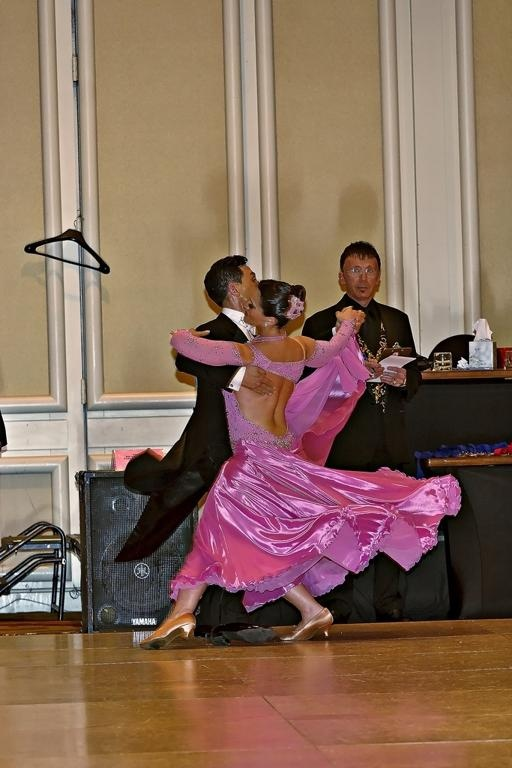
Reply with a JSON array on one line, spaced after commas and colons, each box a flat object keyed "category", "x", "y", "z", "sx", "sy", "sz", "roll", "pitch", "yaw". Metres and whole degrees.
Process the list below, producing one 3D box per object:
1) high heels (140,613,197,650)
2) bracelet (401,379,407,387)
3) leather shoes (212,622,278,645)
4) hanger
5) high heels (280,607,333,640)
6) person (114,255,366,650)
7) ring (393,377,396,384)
[{"category": "high heels", "x": -0.272, "y": 0.797, "z": 2.701, "sx": 0.204, "sy": 0.081, "sz": 0.077, "roll": -23, "pitch": -22, "yaw": -9}, {"category": "bracelet", "x": 0.607, "y": 0.000, "z": 3.475, "sx": 0.020, "sy": 0.029, "sz": 0.023, "roll": 17, "pitch": 5, "yaw": -4}, {"category": "leather shoes", "x": -0.037, "y": 0.826, "z": 2.779, "sx": 0.150, "sy": 0.033, "sz": 0.088, "roll": -2, "pitch": -7, "yaw": 9}, {"category": "hanger", "x": -1.082, "y": -0.753, "z": 4.819, "sx": 0.478, "sy": 0.259, "sz": 0.227, "roll": -3, "pitch": 0, "yaw": -10}, {"category": "high heels", "x": 0.160, "y": 0.809, "z": 2.819, "sx": 0.166, "sy": 0.109, "sz": 0.167, "roll": -3, "pitch": 0, "yaw": -5}, {"category": "person", "x": -0.252, "y": 0.086, "z": 3.115, "sx": 0.586, "sy": 1.288, "sz": 0.464, "roll": -3, "pitch": 0, "yaw": -5}, {"category": "ring", "x": 0.560, "y": -0.009, "z": 3.436, "sx": 0.015, "sy": 0.025, "sz": 0.022, "roll": -3, "pitch": 0, "yaw": 6}]
